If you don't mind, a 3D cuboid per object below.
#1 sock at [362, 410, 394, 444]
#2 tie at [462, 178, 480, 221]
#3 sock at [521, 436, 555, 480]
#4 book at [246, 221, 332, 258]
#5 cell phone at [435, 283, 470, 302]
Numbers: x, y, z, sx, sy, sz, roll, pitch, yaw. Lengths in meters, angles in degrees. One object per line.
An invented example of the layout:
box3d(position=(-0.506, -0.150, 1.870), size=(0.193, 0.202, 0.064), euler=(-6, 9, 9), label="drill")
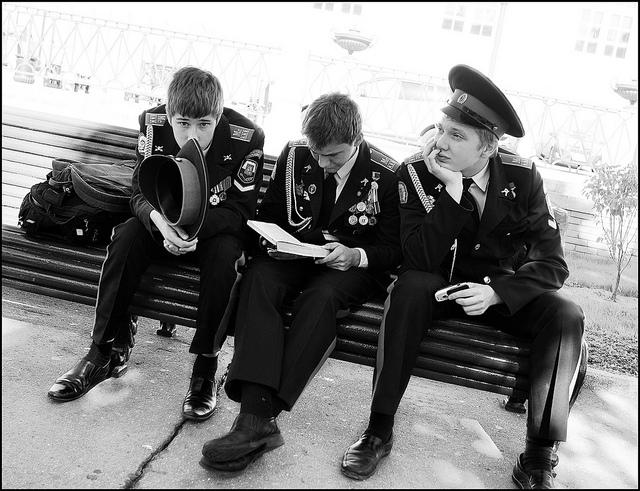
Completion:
box3d(position=(0.279, 0.865, 2.452), size=(0.133, 0.126, 0.087), euler=(9, 8, 6), label="sock")
box3d(position=(0.801, -0.246, 2.762), size=(0.045, 0.199, 0.140), euler=(-22, -14, 36), label="tie")
box3d(position=(1.016, 0.973, 2.341), size=(0.078, 0.183, 0.180), euler=(3, 0, 14), label="sock")
box3d(position=(-0.199, -0.032, 2.603), size=(0.249, 0.058, 0.284), euler=(19, 3, 22), label="book")
box3d(position=(0.644, 0.222, 2.495), size=(0.185, 0.093, 0.048), euler=(5, 8, -23), label="cell phone")
